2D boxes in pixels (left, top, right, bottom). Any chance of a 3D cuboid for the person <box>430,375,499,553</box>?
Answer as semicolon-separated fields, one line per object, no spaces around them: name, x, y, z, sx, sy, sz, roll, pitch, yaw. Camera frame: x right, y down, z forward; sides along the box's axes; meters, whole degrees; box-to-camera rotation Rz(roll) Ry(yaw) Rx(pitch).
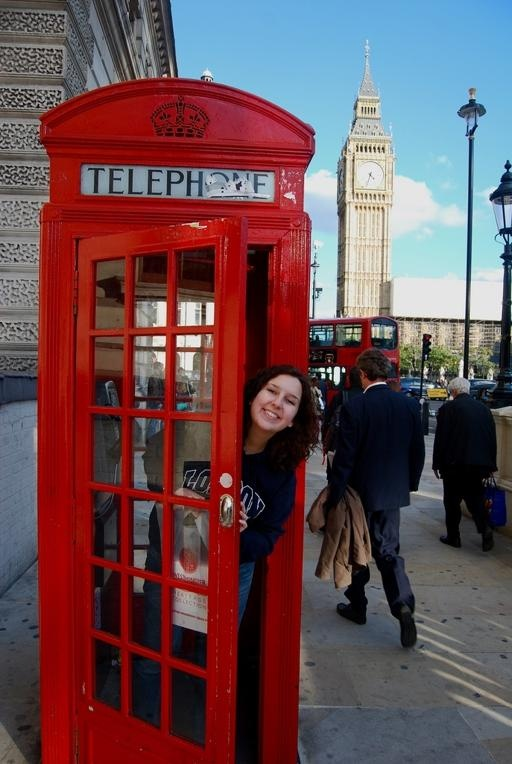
person;1.711;0.683;5.986;0.544;1.426;0.379;4;3;36

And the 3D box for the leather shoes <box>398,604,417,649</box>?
leather shoes;0.820;1.335;3.961;0.078;0.257;0.104;-5;-4;6

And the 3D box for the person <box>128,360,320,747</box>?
person;-0.079;0.586;2.633;0.632;1.302;0.352;0;3;-29

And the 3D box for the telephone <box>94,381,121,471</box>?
telephone;-0.562;0.245;2.744;0.109;0.575;0.061;2;19;-6

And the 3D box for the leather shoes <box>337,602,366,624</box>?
leather shoes;0.578;1.402;4.426;0.076;0.093;0.207;-1;13;-37

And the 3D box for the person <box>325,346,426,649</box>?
person;0.696;0.629;4.189;0.510;1.623;0.550;2;3;13
